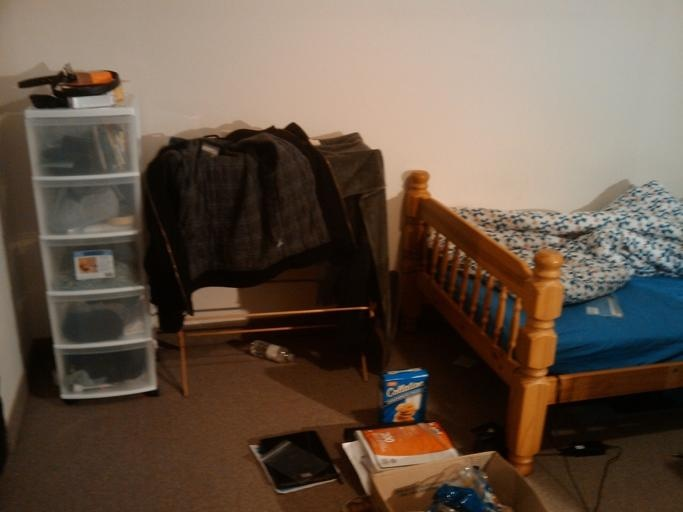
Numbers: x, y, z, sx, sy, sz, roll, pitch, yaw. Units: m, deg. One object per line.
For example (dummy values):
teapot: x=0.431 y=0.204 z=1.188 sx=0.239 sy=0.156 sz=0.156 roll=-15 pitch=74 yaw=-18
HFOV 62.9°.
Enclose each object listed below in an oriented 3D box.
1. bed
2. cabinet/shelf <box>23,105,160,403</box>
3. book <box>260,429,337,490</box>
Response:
bed: x=0.986 y=0.194 z=2.965 sx=1.336 sy=0.945 sz=1.528 roll=-9 pitch=36 yaw=-14
cabinet/shelf: x=-1.124 y=0.036 z=2.564 sx=0.559 sy=1.385 sz=0.200 roll=-5 pitch=24 yaw=-3
book: x=-0.206 y=0.891 z=2.449 sx=0.294 sy=0.081 sz=0.288 roll=-9 pitch=21 yaw=-18
